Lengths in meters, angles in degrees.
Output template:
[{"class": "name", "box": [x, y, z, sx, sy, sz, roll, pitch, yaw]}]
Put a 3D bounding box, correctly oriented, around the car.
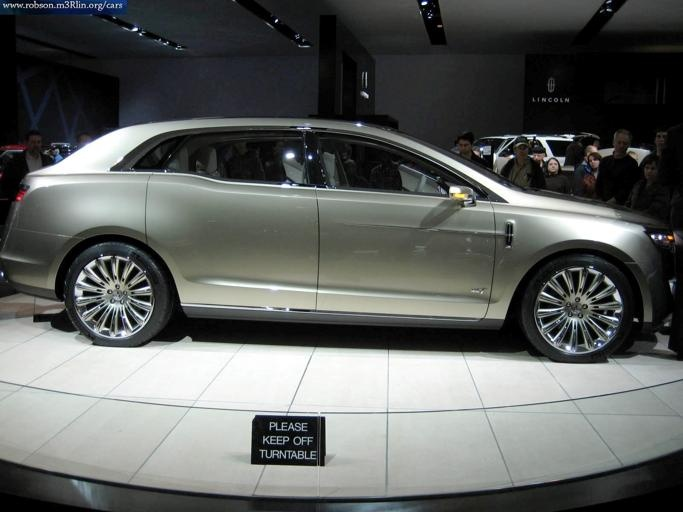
[{"class": "car", "box": [-0.135, -0.129, 4.235, 5.227, 2.004, 2.325, 0, 2, 2]}]
